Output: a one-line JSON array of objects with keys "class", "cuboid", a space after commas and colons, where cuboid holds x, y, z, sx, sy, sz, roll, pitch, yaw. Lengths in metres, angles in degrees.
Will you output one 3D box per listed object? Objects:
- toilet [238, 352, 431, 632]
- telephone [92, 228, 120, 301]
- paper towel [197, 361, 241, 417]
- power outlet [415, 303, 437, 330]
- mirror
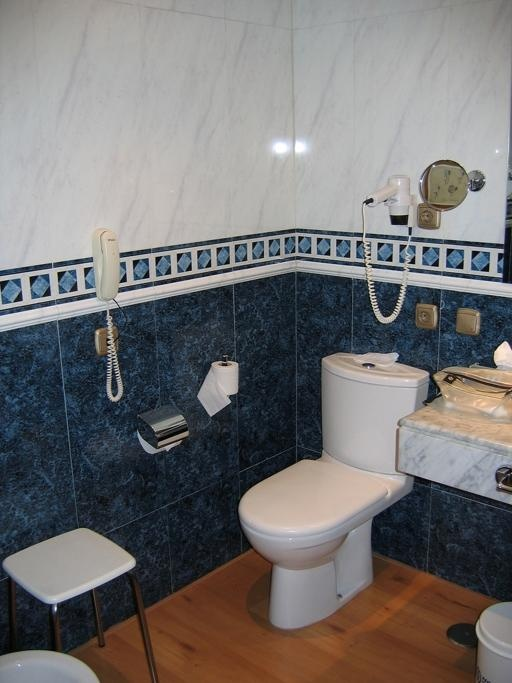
[{"class": "toilet", "cuboid": [0.258, 0.519, 1.812, 0.423, 0.846, 0.667, 5, 10, 39]}, {"class": "telephone", "cuboid": [-0.397, -0.204, 1.453, 0.057, 0.187, 0.091, -6, 8, -30]}, {"class": "paper towel", "cuboid": [-0.131, 0.160, 1.928, 0.109, 0.214, 0.104, 14, 20, 29]}, {"class": "power outlet", "cuboid": [0.587, -0.090, 1.868, 0.049, 0.094, 0.071, -14, 18, -40]}, {"class": "mirror", "cuboid": [0.600, -0.491, 1.717, 0.166, 0.147, 0.040, 17, 24, 36]}]
